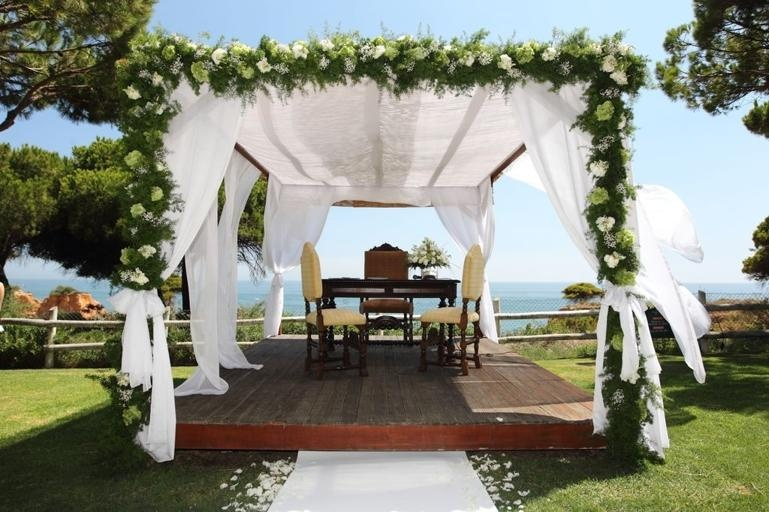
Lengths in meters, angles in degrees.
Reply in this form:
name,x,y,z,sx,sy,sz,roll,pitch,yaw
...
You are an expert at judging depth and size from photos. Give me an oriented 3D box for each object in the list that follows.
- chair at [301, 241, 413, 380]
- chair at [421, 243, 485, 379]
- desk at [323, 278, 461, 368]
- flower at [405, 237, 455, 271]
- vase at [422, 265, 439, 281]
name,x,y,z,sx,sy,sz,roll,pitch,yaw
chair,-0.791,0.711,7.382,0.876,1.947,1.701,-2,8,-10
chair,1.022,0.716,7.415,0.830,1.890,1.656,1,8,11
desk,0.038,0.776,7.539,1.934,1.011,0.771,1,9,-2
flower,0.681,-0.020,8.214,0.545,0.407,0.585,-2,8,-1
vase,0.726,0.269,8.041,0.224,0.173,0.195,-6,-11,36
